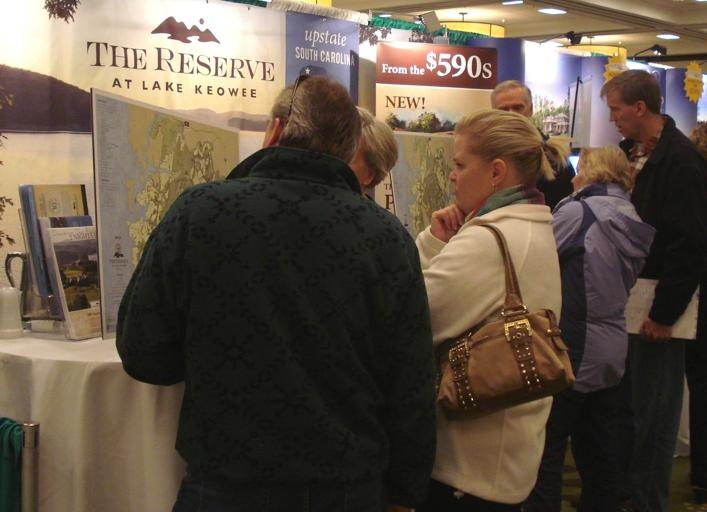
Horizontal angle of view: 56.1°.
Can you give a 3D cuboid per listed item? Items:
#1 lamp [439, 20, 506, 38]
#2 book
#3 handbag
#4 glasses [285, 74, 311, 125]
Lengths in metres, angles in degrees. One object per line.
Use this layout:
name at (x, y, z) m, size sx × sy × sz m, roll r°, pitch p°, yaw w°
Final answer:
lamp at (2.008, -3.647, 10.535) m, size 1.178 × 0.201 × 0.293 m, roll -2°, pitch 4°, yaw -23°
book at (-1.311, 0.010, 2.956) m, size 0.302 × 0.685 × 0.547 m, roll -2°, pitch 4°, yaw -27°
handbag at (0.533, 0.230, 2.315) m, size 0.471 × 0.685 × 0.168 m, roll 0°, pitch 4°, yaw 6°
glasses at (-0.181, -0.516, 2.131) m, size 0.041 × 0.141 × 0.139 m, roll 4°, pitch -1°, yaw 11°
